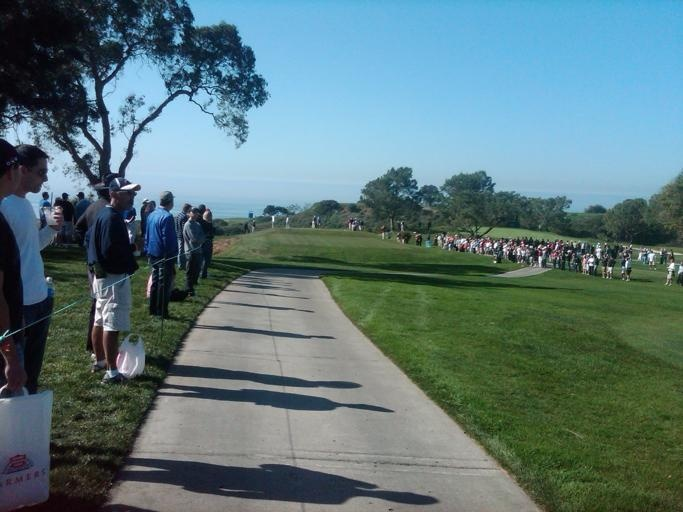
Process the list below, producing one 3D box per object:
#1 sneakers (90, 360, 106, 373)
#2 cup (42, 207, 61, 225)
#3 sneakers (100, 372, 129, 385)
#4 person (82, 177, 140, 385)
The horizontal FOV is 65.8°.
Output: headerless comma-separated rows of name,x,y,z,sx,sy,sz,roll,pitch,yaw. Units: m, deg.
sneakers,-3.442,1.592,7.554,0.089,0.109,0.272,-4,-12,25
cup,-3.239,-0.444,5.931,0.229,0.193,0.217,-2,-3,0
sneakers,-3.078,1.679,7.237,0.363,0.166,0.134,15,-15,-38
person,-3.141,0.311,7.246,0.629,2.747,0.778,2,8,-26
